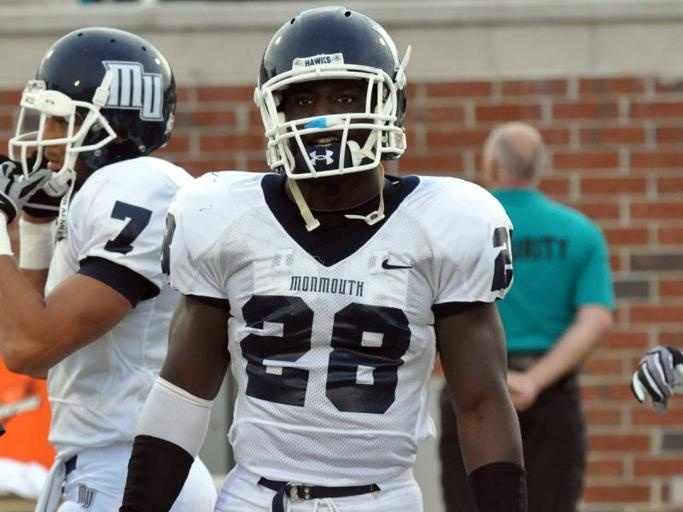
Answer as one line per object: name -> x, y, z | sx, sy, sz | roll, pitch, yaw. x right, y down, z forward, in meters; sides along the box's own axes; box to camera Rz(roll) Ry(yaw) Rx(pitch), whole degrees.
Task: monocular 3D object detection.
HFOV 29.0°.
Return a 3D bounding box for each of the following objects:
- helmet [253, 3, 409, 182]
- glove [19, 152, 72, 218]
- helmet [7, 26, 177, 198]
helmet -> -0.010, -0.480, 4.032 | 0.440, 0.399, 0.522 | -10, -3, 10
glove -> -0.988, -0.254, 4.484 | 0.169, 0.223, 0.145 | 11, 18, 11
helmet -> -0.813, -0.513, 4.497 | 0.569, 0.442, 0.415 | 1, -1, -23
